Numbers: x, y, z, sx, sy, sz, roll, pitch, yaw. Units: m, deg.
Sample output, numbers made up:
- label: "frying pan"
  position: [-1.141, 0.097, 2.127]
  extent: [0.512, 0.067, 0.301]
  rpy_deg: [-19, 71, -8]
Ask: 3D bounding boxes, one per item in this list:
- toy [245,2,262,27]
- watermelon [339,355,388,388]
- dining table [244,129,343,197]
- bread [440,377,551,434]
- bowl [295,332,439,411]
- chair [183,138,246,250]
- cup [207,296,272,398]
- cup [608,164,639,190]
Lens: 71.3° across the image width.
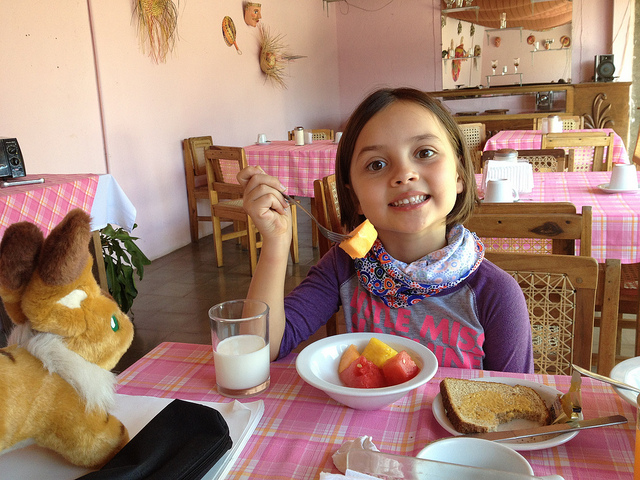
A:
- label: "toy"
  position: [-0.800, -2.688, 5.356]
  extent: [0.097, 0.253, 0.334]
  rpy_deg: [1, 17, 12]
- label: "watermelon"
  position: [0.078, 0.241, 0.794]
  extent: [0.071, 0.045, 0.106]
  rpy_deg: [6, 6, 14]
- label: "dining table"
  position: [-0.263, -0.685, 4.160]
  extent: [0.756, 0.278, 0.758]
  rpy_deg: [3, 11, -4]
- label: "bread"
  position: [0.291, 0.246, 0.730]
  extent: [0.142, 0.064, 0.110]
  rpy_deg: [0, 7, 7]
- label: "bowl"
  position: [0.080, 0.254, 0.810]
  extent: [0.292, 0.098, 0.288]
  rpy_deg: [-10, 2, 0]
- label: "chair"
  position: [-0.892, -0.373, 4.443]
  extent: [0.803, 1.145, 0.729]
  rpy_deg: [2, 9, -20]
- label: "cup"
  position: [-0.136, 0.211, 0.917]
  extent: [0.158, 0.183, 0.161]
  rpy_deg: [-1, 3, 0]
- label: "cup"
  position: [1.377, -0.276, 2.010]
  extent: [0.121, 0.113, 0.112]
  rpy_deg: [-3, 2, 0]
